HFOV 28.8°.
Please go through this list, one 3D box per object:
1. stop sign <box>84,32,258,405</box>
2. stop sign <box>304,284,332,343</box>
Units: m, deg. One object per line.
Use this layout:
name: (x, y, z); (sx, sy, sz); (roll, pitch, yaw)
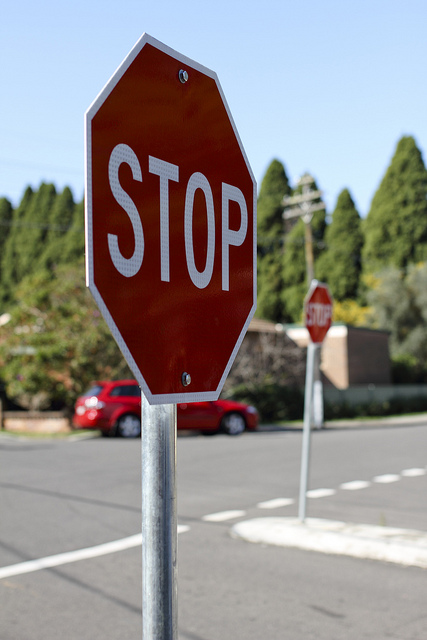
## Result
stop sign: (-0.074, -0.228, 1.947); (0.148, 0.839, 0.666); (-7, -5, 26)
stop sign: (0.962, -0.062, 7.757); (0.190, 0.553, 0.582); (-7, -5, 24)
